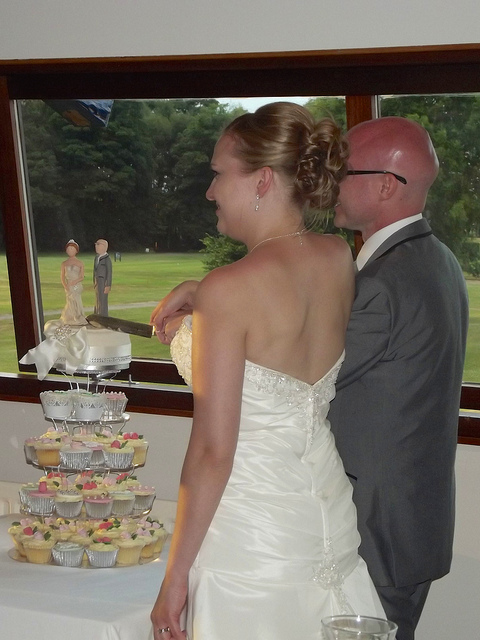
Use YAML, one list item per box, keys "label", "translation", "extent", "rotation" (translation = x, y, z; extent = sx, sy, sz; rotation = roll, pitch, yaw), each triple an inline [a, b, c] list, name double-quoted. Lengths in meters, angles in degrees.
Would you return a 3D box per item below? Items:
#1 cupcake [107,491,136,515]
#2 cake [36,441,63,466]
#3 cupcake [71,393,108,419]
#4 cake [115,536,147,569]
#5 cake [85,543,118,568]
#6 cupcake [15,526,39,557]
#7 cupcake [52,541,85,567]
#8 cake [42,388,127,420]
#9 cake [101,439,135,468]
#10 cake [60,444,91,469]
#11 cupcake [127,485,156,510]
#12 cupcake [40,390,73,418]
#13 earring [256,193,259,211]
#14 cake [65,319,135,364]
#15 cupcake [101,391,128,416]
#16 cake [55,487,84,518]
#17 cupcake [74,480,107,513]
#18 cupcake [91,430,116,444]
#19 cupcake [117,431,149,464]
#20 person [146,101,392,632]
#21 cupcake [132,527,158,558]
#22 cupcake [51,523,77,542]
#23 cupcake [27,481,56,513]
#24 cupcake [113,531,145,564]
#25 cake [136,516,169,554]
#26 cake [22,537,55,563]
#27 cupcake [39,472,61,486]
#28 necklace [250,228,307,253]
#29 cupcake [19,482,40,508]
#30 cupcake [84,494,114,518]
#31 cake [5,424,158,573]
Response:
- label: "cupcake"
  translation: [-0.396, 0.609, 2.067]
  extent: [0.090, 0.059, 0.087]
  rotation: [3, -4, -1]
- label: "cake"
  translation: [-0.691, 0.479, 2.228]
  extent: [0.114, 0.086, 0.103]
  rotation: [0, -4, -7]
- label: "cupcake"
  translation: [-0.534, 0.303, 2.179]
  extent: [0.109, 0.060, 0.098]
  rotation: [0, -5, 1]
- label: "cake"
  translation: [-0.329, 0.702, 1.870]
  extent: [0.096, 0.055, 0.088]
  rotation: [1, 2, -23]
- label: "cake"
  translation: [-0.408, 0.698, 1.841]
  extent: [0.085, 0.049, 0.077]
  rotation: [1, -9, 0]
- label: "cupcake"
  translation: [-0.662, 0.672, 1.893]
  extent: [0.092, 0.080, 0.084]
  rotation: [2, -12, -15]
- label: "cupcake"
  translation: [-0.509, 0.690, 1.826]
  extent: [0.075, 0.043, 0.077]
  rotation: [-1, -12, 13]
- label: "cake"
  translation: [-0.574, 0.312, 2.275]
  extent: [0.253, 0.064, 0.233]
  rotation: [0, -5, -1]
- label: "cake"
  translation: [-0.421, 0.461, 2.134]
  extent: [0.100, 0.071, 0.102]
  rotation: [3, -11, -4]
- label: "cake"
  translation: [-0.567, 0.464, 2.109]
  extent: [0.097, 0.056, 0.088]
  rotation: [0, -5, -2]
- label: "cupcake"
  translation: [-0.347, 0.615, 2.179]
  extent: [0.097, 0.056, 0.088]
  rotation: [1, -4, 5]
- label: "cupcake"
  translation: [-0.671, 0.304, 2.257]
  extent: [0.113, 0.069, 0.102]
  rotation: [-1, -7, 1]
- label: "earring"
  translation: [0.030, -0.198, 1.044]
  extent: [0.006, 0.025, 0.003]
  rotation: [1, 14, 11]
- label: "cake"
  translation: [-0.474, 0.078, 2.165]
  extent: [0.203, 0.067, 0.199]
  rotation: [3, 4, 35]
- label: "cupcake"
  translation: [-0.483, 0.323, 2.373]
  extent: [0.099, 0.060, 0.092]
  rotation: [1, -7, 15]
- label: "cake"
  translation: [-0.558, 0.593, 2.028]
  extent: [0.104, 0.074, 0.095]
  rotation: [1, -4, -6]
- label: "cupcake"
  translation: [-0.501, 0.603, 2.118]
  extent: [0.108, 0.079, 0.098]
  rotation: [1, -3, 2]
- label: "cupcake"
  translation: [-0.504, 0.430, 2.274]
  extent: [0.065, 0.024, 0.060]
  rotation: [7, -3, -5]
- label: "cupcake"
  translation: [-0.386, 0.469, 2.256]
  extent: [0.120, 0.090, 0.122]
  rotation: [2, -8, -6]
- label: "person"
  translation: [0.065, 0.106, 1.039]
  extent: [0.360, 0.911, 0.427]
  rotation: [1, 14, 12]
- label: "cupcake"
  translation: [-0.288, 0.692, 1.933]
  extent: [0.083, 0.077, 0.078]
  rotation: [0, 7, -13]
- label: "cupcake"
  translation: [-0.551, 0.656, 1.915]
  extent: [0.051, 0.024, 0.046]
  rotation: [1, 1, 0]
- label: "cupcake"
  translation: [-0.656, 0.598, 2.100]
  extent: [0.103, 0.091, 0.108]
  rotation: [1, -8, -3]
- label: "cupcake"
  translation: [-0.341, 0.689, 1.919]
  extent: [0.099, 0.074, 0.095]
  rotation: [2, 1, 30]
- label: "cake"
  translation: [-0.296, 0.705, 2.043]
  extent: [0.104, 0.082, 0.101]
  rotation: [5, 5, -14]
- label: "cake"
  translation: [-0.604, 0.685, 1.851]
  extent: [0.083, 0.048, 0.077]
  rotation: [2, 0, -18]
- label: "cupcake"
  translation: [-0.651, 0.551, 2.142]
  extent: [0.049, 0.015, 0.049]
  rotation: [6, -2, -2]
- label: "necklace"
  translation: [0.068, -0.135, 1.047]
  extent: [0.098, 0.035, 0.060]
  rotation: [-1, 12, 1]
- label: "cupcake"
  translation: [-0.730, 0.596, 2.123]
  extent: [0.087, 0.066, 0.079]
  rotation: [0, -3, -4]
- label: "cupcake"
  translation: [-0.460, 0.606, 2.015]
  extent: [0.092, 0.051, 0.083]
  rotation: [0, -3, -1]
- label: "cake"
  translation: [-0.557, 0.603, 2.075]
  extent: [0.516, 0.370, 0.467]
  rotation: [1, 3, 4]
